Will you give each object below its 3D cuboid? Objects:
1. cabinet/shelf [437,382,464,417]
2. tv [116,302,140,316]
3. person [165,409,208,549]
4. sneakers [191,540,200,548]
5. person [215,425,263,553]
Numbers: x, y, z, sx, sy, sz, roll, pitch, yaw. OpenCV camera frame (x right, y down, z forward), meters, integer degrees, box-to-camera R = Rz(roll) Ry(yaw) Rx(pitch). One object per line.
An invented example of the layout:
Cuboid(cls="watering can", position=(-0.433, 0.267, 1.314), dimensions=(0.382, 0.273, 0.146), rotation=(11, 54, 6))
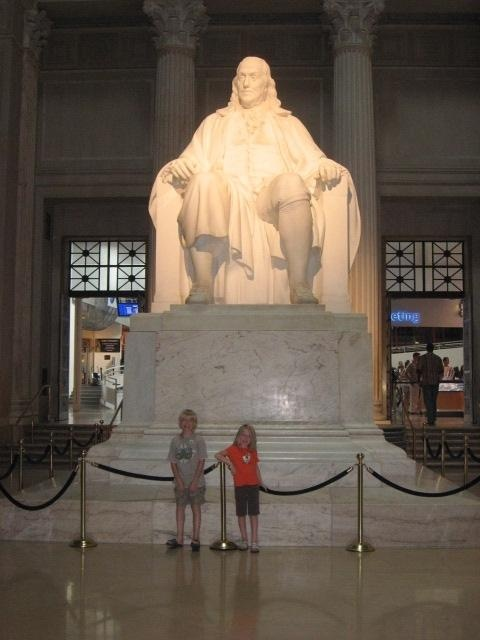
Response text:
Cuboid(cls="cabinet/shelf", position=(4.436, 1.657, 19.905), dimensions=(0.595, 0.894, 0.867), rotation=(1, -7, 9))
Cuboid(cls="tv", position=(-2.998, -0.307, 25.257), dimensions=(0.444, 0.474, 1.174), rotation=(1, -4, -10))
Cuboid(cls="person", position=(-0.401, 1.205, 7.128), dimensions=(0.287, 1.038, 0.309), rotation=(0, -4, 2))
Cuboid(cls="sneakers", position=(-0.334, 1.685, 7.060), dimensions=(0.061, 0.071, 0.121), rotation=(0, -4, -2))
Cuboid(cls="person", position=(-0.006, 1.255, 7.115), dimensions=(0.334, 0.942, 0.314), rotation=(0, -4, 5))
